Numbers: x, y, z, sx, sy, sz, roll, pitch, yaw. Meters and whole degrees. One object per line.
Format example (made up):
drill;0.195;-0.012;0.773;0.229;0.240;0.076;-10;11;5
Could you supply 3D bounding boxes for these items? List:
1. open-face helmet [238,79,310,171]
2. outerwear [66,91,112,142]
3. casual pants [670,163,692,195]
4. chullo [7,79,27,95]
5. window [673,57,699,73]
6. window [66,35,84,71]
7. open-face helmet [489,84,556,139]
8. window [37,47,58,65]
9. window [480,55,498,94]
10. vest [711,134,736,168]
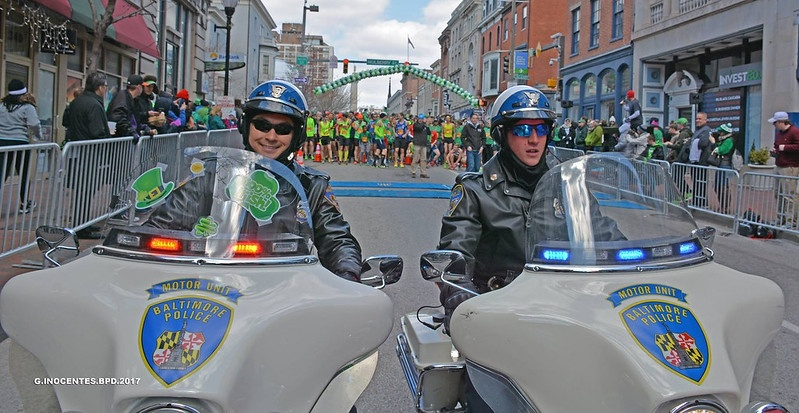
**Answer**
open-face helmet;-1.088;-0.769;5.192;0.581;0.735;0.761;11;8;-10
outerwear;-5.826;-1.683;11.125;1.007;0.937;0.491;12;9;27
casual pants;6.910;-0.711;14.676;0.764;0.795;0.031;1;-6;-25
chullo;-7.225;-2.265;11.354;0.277;0.234;0.377;2;18;11
window;12.354;-6.103;25.767;0.843;0.201;0.834;3;-3;-45
window;-9.958;-4.668;18.377;0.285;1.015;1.013;0;9;-15
open-face helmet;1.078;-0.819;5.277;0.511;0.502;0.604;-3;4;-14
window;-9.862;-4.167;16.817;0.250;0.368;0.789;0;9;-15
window;8.495;-13.050;58.494;1.512;4.156;2.525;-6;16;-20
vest;8.082;-1.359;14.922;0.448;0.800;0.611;7;1;14
